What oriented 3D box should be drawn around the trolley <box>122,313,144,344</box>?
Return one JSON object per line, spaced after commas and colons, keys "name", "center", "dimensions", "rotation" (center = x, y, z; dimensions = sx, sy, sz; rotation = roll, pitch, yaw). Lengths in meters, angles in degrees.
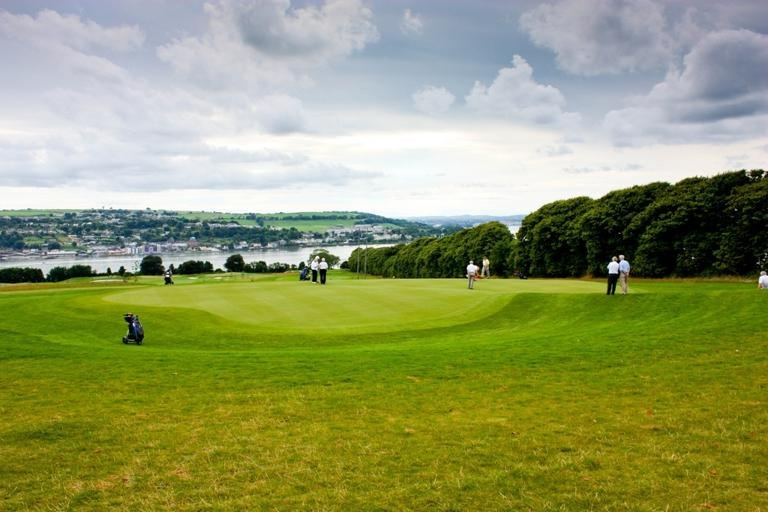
{"name": "trolley", "center": [-13.087, 3.776, 29.961], "dimensions": [0.935, 1.600, 1.181], "rotation": [1, 1, -26]}
